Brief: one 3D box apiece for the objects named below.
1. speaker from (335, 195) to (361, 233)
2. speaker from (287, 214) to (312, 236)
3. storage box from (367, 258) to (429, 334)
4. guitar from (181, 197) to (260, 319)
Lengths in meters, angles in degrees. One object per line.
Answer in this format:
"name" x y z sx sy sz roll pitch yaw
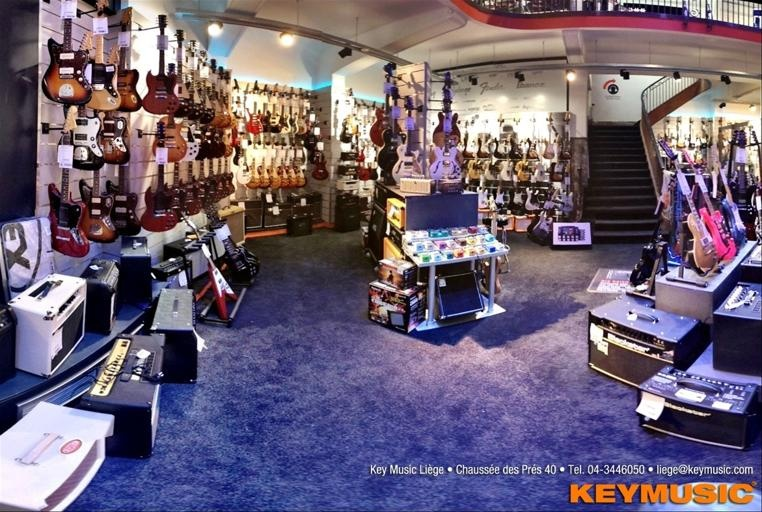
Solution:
"speaker" -0.825 -1.036 12.166 0.600 0.880 0.421 -2 11 -7
"speaker" -1.850 -0.696 11.501 0.527 0.471 0.330 -3 12 -16
"storage box" 0.219 0.531 6.446 0.666 0.893 0.485 17 24 37
"guitar" -2.437 0.050 7.593 0.691 1.136 1.529 9 16 -6
